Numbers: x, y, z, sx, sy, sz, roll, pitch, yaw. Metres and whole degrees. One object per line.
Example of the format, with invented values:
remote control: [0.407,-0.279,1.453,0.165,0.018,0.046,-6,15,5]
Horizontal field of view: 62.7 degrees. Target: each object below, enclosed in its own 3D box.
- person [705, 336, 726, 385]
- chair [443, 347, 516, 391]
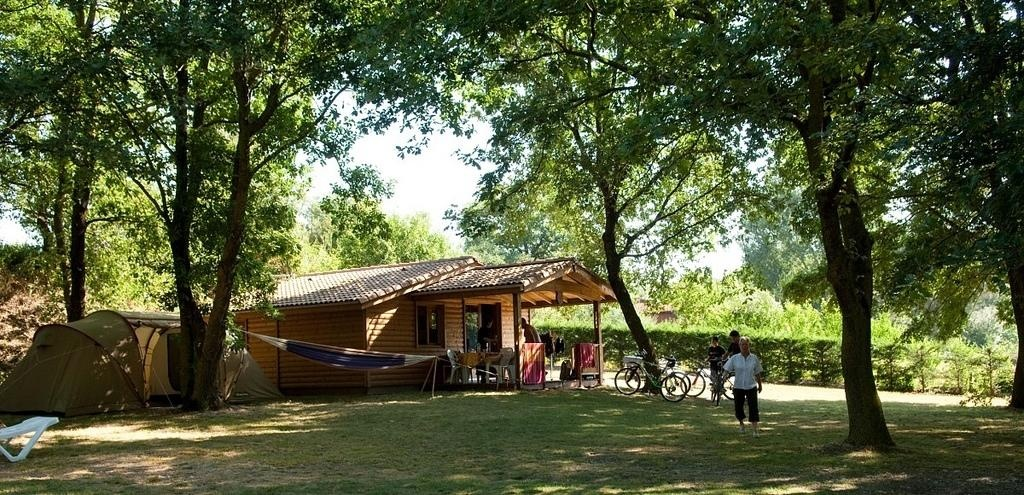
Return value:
person: [7.583,4.262,31.166,0.593,1.816,1.484,-4,-12,12]
chair: [-1.268,4.907,34.007,2.271,0.993,1.986,3,-8,-27]
